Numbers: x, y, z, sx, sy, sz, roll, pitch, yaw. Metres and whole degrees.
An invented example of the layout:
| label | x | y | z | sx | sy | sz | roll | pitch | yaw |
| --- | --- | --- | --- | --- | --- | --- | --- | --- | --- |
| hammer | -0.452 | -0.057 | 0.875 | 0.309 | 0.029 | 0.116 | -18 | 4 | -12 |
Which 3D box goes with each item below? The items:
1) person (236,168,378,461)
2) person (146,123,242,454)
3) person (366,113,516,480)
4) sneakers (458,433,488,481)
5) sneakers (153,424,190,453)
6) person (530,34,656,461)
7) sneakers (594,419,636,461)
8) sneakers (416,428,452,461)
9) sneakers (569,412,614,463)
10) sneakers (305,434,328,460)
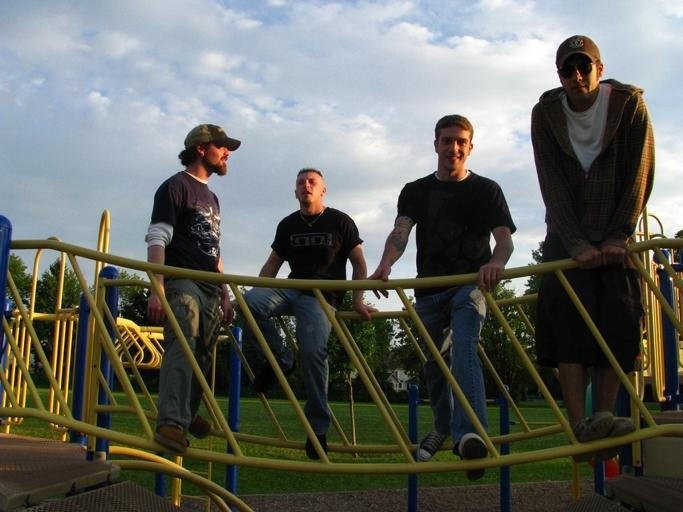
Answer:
| label | x | y | z | sx | sy | sz | roll | pitch | yaw |
| --- | --- | --- | --- | --- | --- | --- | --- | --- | --- |
| person | -0.266 | 0.424 | 5.555 | 0.981 | 2.296 | 1.014 | 1 | -3 | -9 |
| person | -1.093 | 0.173 | 5.146 | 0.646 | 2.411 | 1.087 | 1 | -3 | -9 |
| person | 0.793 | 0.252 | 5.088 | 0.938 | 2.602 | 0.956 | 1 | -3 | -4 |
| sneakers | 0.872 | 1.336 | 4.709 | 0.144 | 0.428 | 0.168 | 0 | 34 | 3 |
| sneakers | -1.090 | 1.168 | 4.591 | 0.108 | 0.124 | 0.263 | -5 | -40 | 41 |
| person | 1.646 | -0.071 | 4.670 | 0.780 | 2.730 | 0.448 | 0 | -3 | 23 |
| sneakers | 1.745 | 1.153 | 4.479 | 0.211 | 0.283 | 0.223 | 2 | -3 | -22 |
| sneakers | 0.640 | 1.333 | 5.064 | 0.110 | 0.126 | 0.343 | 32 | 6 | 13 |
| sneakers | 1.580 | 1.129 | 4.437 | 0.161 | 0.172 | 0.367 | -6 | -20 | -8 |
| sneakers | -0.185 | 1.358 | 5.049 | 0.152 | 0.282 | 0.267 | 1 | -15 | 1 |
